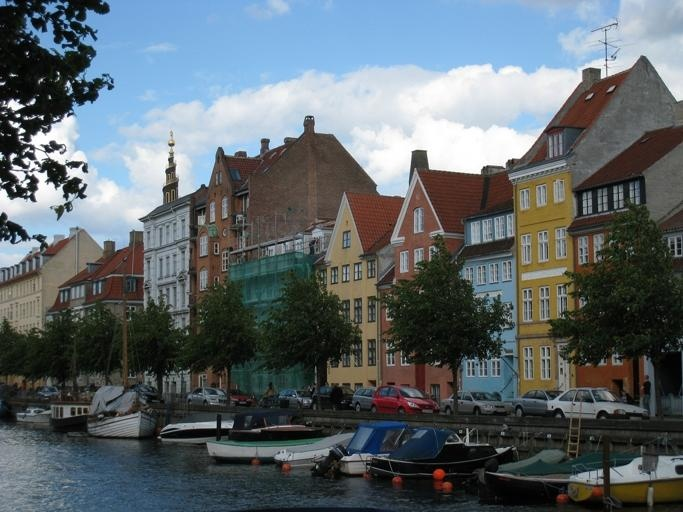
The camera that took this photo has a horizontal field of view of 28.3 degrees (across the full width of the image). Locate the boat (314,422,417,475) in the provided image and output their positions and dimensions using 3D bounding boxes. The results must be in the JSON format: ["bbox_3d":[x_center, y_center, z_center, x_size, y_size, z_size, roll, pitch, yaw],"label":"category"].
[{"bbox_3d":[0.883,10.171,69.697,4.265,2.857,3.507,-1,-10,-27],"label":"boat"}]

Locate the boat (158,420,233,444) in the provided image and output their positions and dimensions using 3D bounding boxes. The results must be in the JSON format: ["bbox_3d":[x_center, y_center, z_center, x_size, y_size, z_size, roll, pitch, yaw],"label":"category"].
[{"bbox_3d":[-9.419,10.769,87.567,3.652,2.428,4.522,-6,-12,27],"label":"boat"}]

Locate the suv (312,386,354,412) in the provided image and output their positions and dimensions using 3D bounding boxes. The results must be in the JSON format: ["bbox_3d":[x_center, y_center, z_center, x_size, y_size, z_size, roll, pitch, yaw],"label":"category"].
[{"bbox_3d":[-0.513,9.754,92.950,1.452,1.345,2.662,5,-14,-31],"label":"suv"}]

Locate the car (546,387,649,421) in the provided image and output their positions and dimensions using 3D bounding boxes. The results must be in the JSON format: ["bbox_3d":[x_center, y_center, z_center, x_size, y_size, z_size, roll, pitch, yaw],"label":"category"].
[{"bbox_3d":[13.829,8.262,74.977,2.192,1.557,4.837,4,-10,-39],"label":"car"}]

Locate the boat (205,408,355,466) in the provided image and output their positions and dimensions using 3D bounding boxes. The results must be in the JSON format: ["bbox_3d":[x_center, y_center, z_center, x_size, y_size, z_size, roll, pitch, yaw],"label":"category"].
[{"bbox_3d":[-4.393,10.151,75.947,7.210,2.423,3.111,-5,-7,23],"label":"boat"}]

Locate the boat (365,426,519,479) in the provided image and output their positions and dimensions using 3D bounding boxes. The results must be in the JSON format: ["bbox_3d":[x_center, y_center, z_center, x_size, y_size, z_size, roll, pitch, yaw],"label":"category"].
[{"bbox_3d":[5.116,9.800,67.094,5.093,1.602,3.135,-1,-4,-14],"label":"boat"}]

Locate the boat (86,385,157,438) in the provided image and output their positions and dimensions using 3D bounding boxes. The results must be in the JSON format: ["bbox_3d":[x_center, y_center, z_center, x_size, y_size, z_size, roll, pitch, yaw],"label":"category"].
[{"bbox_3d":[-14.524,10.819,93.503,4.227,4.037,3.786,5,-10,-37],"label":"boat"}]
